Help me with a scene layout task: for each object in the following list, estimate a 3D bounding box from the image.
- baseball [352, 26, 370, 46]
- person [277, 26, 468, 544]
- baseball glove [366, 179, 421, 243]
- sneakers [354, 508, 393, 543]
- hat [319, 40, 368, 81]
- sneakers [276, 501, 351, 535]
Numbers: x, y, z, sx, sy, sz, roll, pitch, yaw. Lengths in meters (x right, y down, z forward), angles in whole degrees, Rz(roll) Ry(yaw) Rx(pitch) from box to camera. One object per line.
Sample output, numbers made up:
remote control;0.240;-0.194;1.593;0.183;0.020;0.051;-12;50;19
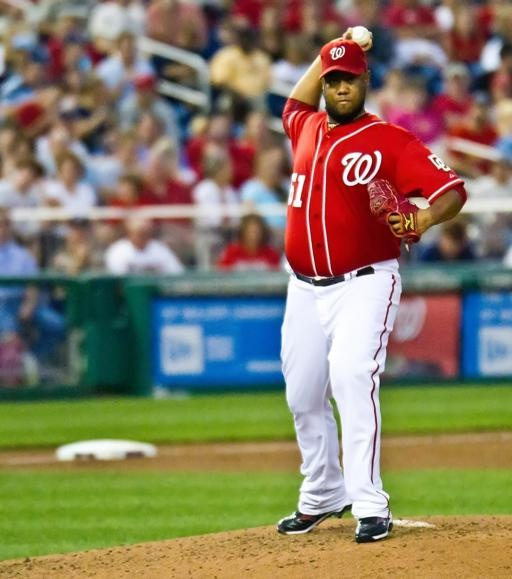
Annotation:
baseball;0.435;-1.042;4.797;0.091;0.050;0.085;-13;-18;12
person;0.402;-0.051;4.616;0.366;2.016;0.875;-3;0;-44
baseball glove;0.523;-0.294;4.412;0.151;0.245;0.100;-40;-14;7
sneakers;0.466;0.916;4.511;0.065;0.073;0.187;3;6;29
hat;0.351;-0.914;4.605;0.181;0.152;0.222;-2;0;3
sneakers;0.255;0.933;4.812;0.313;0.120;0.105;-2;6;-20
